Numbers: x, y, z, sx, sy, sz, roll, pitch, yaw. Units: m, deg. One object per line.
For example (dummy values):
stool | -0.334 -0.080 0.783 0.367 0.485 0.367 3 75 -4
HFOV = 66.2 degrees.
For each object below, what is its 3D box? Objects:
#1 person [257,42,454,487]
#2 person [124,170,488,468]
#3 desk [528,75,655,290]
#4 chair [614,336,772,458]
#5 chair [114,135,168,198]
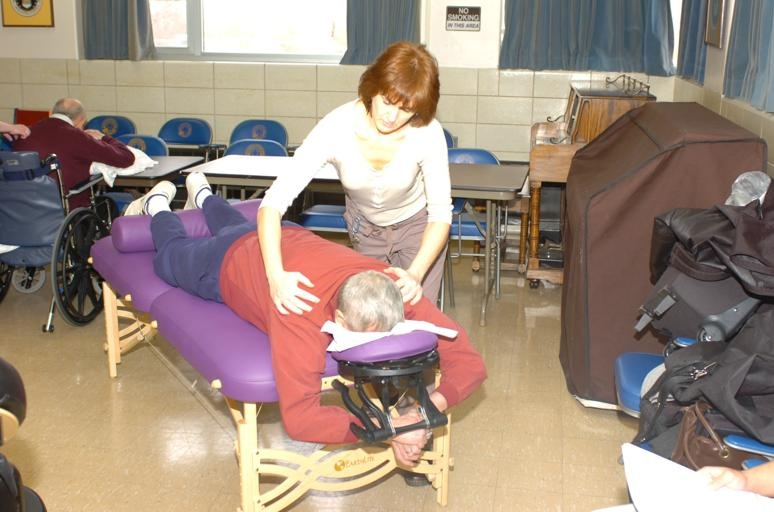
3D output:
person | -0.101 0.054 2.681 0.841 1.888 1.007 -5 26 -10
person | -0.514 0.034 2.677 0.858 0.622 1.965 -15 36 -38
desk | 1.375 -0.497 3.994 0.603 1.217 1.744 4 21 11
chair | 1.267 0.540 2.543 0.428 0.484 0.346 6 40 8
chair | -2.227 -0.853 5.478 0.382 0.436 0.340 3 25 -2
